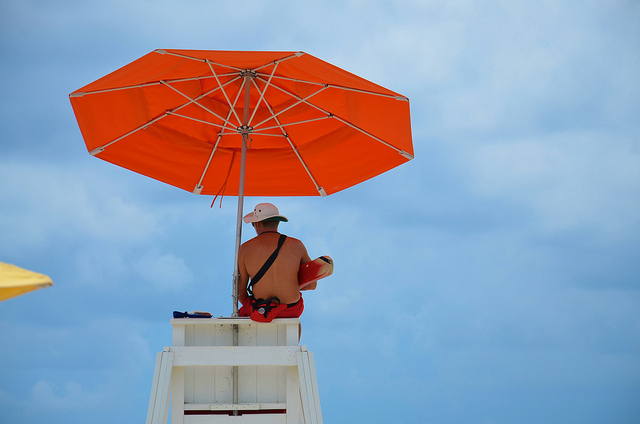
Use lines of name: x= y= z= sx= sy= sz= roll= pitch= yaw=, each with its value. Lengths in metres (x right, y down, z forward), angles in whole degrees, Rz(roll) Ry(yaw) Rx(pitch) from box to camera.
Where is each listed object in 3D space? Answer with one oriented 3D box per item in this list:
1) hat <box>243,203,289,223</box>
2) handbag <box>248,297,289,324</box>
hat: x=-0.555 y=0.028 z=11.099 sx=0.426 sy=0.185 sz=0.398 roll=3 pitch=-1 yaw=-6
handbag: x=-0.547 y=0.989 z=10.716 sx=0.313 sy=0.140 sz=0.226 roll=-10 pitch=10 yaw=-44
